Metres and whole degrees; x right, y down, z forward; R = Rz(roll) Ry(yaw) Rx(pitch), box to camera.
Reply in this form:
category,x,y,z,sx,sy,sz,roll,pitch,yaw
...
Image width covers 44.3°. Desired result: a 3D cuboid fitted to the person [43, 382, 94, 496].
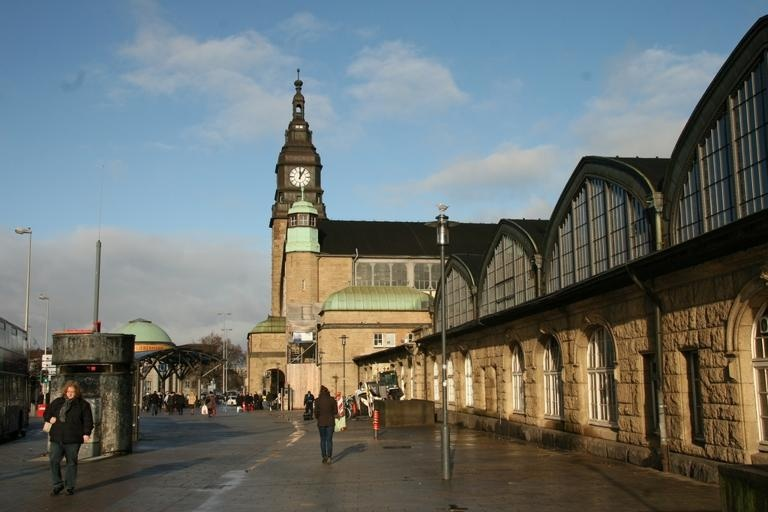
category,x,y,z,sx,sy,sz,roll,pitch,yaw
person,-7.794,4.478,23.350,1.142,2.753,0.572,-1,-13,-7

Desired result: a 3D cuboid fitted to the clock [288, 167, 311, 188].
category,x,y,z,sx,sy,sz,roll,pitch,yaw
clock,-9.427,-8.536,103.359,2.093,2.147,0.190,-23,10,-3

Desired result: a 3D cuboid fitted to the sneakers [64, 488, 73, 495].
category,x,y,z,sx,sy,sz,roll,pitch,yaw
sneakers,-7.638,5.741,22.957,0.176,0.175,0.108,13,-20,-25

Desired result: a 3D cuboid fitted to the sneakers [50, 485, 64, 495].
category,x,y,z,sx,sy,sz,roll,pitch,yaw
sneakers,-7.923,5.722,23.011,0.225,0.198,0.383,-6,-14,15

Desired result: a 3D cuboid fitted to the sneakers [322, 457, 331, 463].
category,x,y,z,sx,sy,sz,roll,pitch,yaw
sneakers,-1.708,6.004,27.746,0.278,0.199,0.309,-4,-13,6
